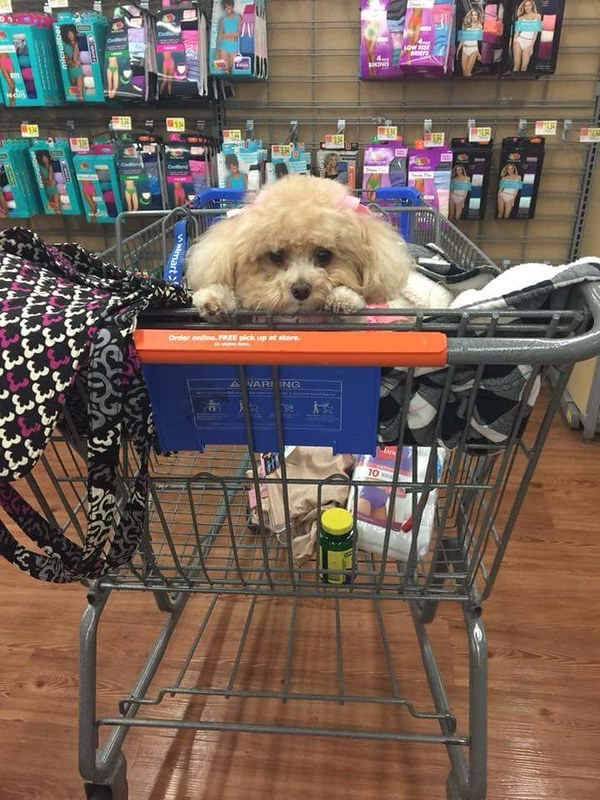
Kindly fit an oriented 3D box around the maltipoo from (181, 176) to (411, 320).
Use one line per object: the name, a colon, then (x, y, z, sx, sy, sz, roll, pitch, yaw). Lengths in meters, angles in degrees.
maltipoo: (0.018, -0.251, 1.039, 0.425, 0.206, 0.408, -7, 32, -9)
